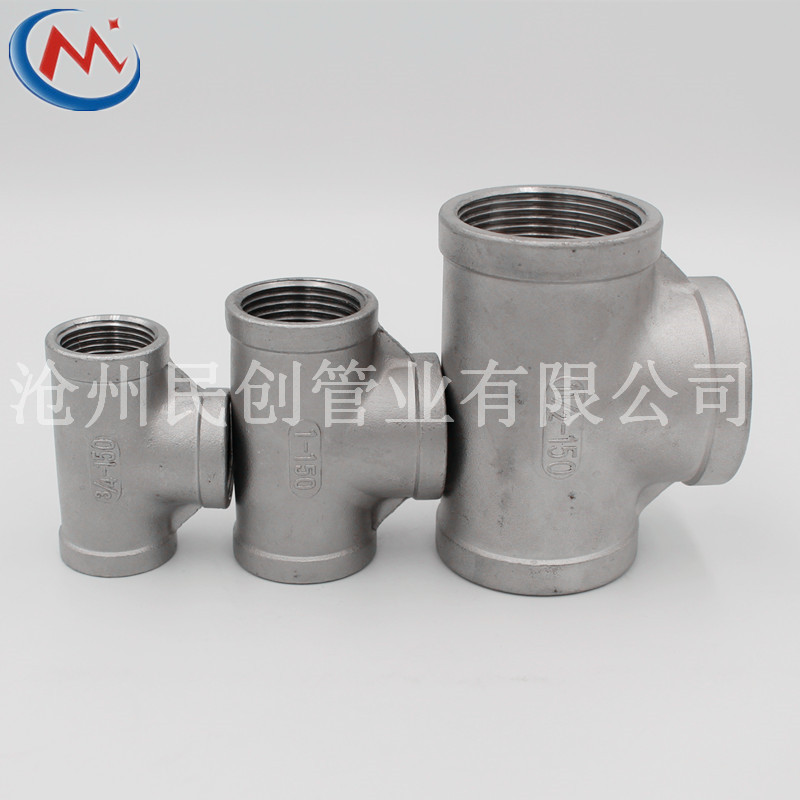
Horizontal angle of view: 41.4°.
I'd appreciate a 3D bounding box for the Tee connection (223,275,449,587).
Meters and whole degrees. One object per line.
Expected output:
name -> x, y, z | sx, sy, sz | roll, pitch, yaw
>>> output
Tee connection -> -0.198, 0.101, 2.439 | 0.547, 0.536, 0.334 | -5, 7, -30
